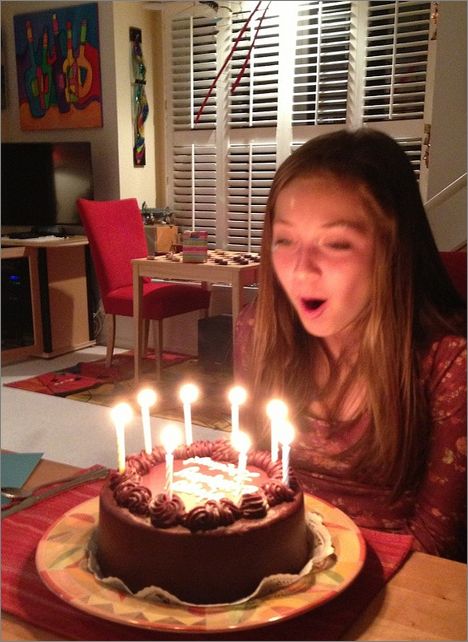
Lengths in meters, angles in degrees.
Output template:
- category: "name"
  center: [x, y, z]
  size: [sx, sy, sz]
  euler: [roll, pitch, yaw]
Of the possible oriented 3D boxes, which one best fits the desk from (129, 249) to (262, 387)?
- category: "desk"
  center: [-0.145, -0.032, 3.892]
  size: [0.888, 0.833, 0.900]
  euler: [6, 16, 25]
